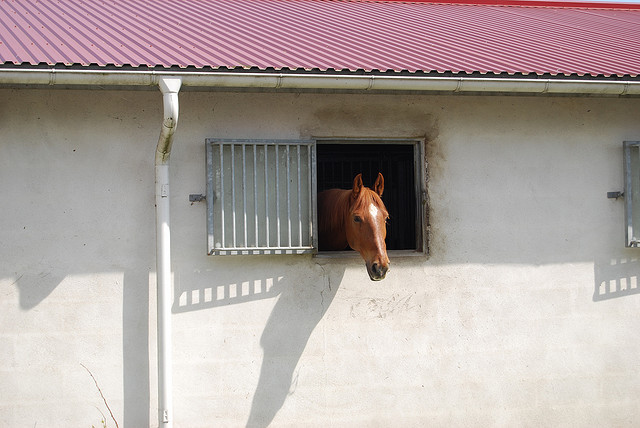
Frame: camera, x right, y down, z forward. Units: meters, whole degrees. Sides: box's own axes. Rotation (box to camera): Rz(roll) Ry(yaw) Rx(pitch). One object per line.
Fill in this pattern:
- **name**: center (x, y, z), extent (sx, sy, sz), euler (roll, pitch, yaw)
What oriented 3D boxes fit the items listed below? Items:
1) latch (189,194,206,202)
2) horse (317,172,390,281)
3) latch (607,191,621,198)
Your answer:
- **latch**: center (-1.340, -0.174, 11.906), extent (0.138, 0.057, 0.080), euler (1, 4, -1)
- **horse**: center (0.257, 0.209, 12.367), extent (0.577, 1.299, 2.309), euler (0, -1, -20)
- **latch**: center (3.363, -0.210, 12.383), extent (0.145, 0.065, 0.032), euler (2, 0, -7)
